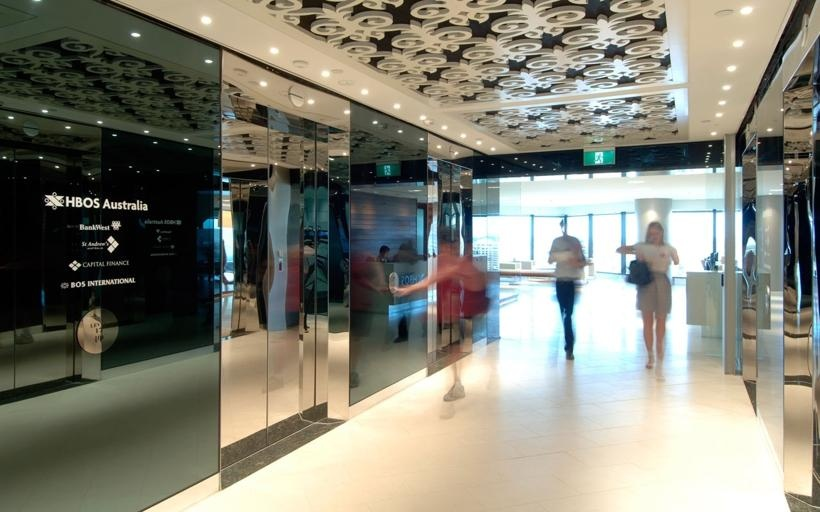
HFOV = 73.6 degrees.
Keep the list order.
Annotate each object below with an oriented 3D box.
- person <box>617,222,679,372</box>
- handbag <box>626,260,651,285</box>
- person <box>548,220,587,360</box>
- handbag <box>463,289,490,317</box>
[{"bbox_3d":[3.903,0.596,8.908,0.710,2.280,0.644,5,12,29],"label":"person"},{"bbox_3d":[3.733,0.261,8.912,0.294,0.471,0.386,-9,8,-28],"label":"handbag"},{"bbox_3d":[2.841,0.520,9.673,0.589,2.169,0.655,-2,10,-8],"label":"person"},{"bbox_3d":[1.195,0.852,10.109,0.337,0.477,0.617,-3,-3,39],"label":"handbag"}]
